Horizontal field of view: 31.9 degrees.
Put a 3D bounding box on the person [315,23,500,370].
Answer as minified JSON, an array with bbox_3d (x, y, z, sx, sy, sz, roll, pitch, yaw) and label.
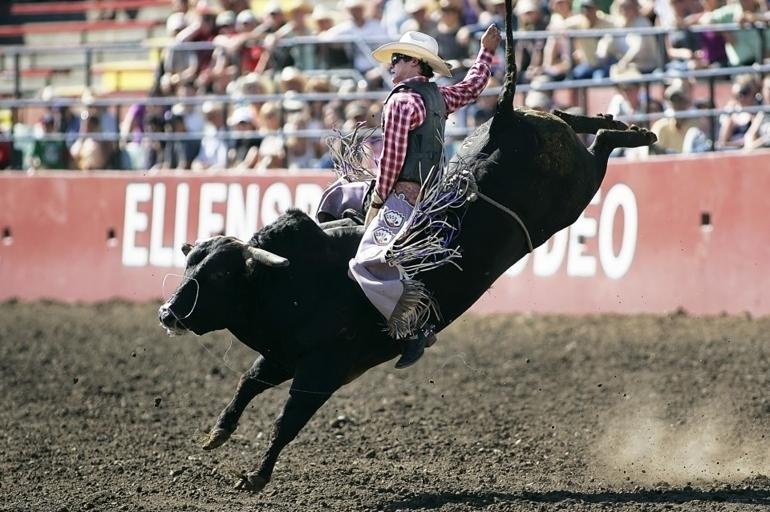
[{"bbox_3d":[0.205,-0.594,13.530,1.424,3.357,0.831,4,5,-4],"label":"person"}]

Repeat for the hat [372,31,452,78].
[{"bbox_3d":[0.311,-2.093,13.573,0.817,0.270,0.663,3,-3,-3],"label":"hat"}]
